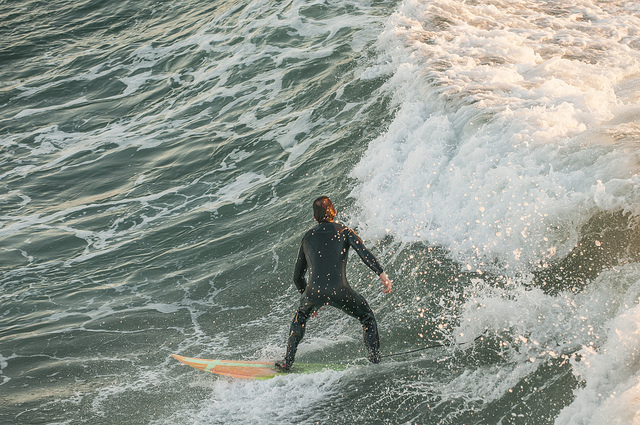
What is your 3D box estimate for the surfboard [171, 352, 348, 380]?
[{"bbox_3d":[-1.208,3.365,21.878,4.891,0.320,0.642,0,25,12],"label":"surfboard"}]
